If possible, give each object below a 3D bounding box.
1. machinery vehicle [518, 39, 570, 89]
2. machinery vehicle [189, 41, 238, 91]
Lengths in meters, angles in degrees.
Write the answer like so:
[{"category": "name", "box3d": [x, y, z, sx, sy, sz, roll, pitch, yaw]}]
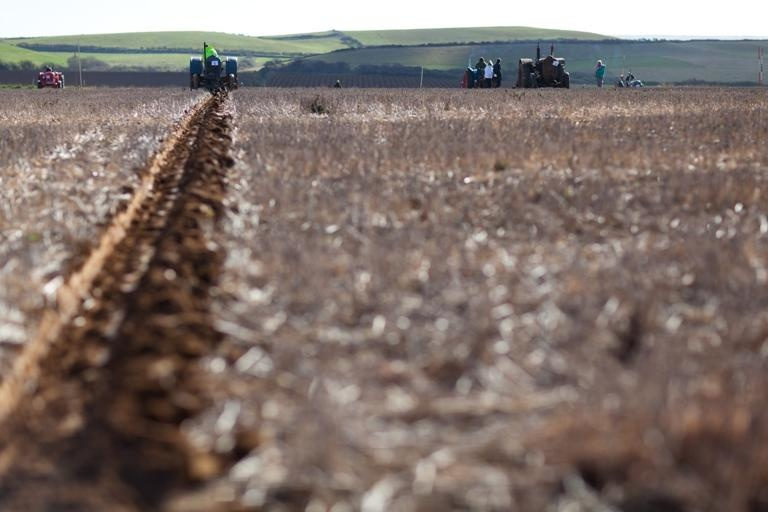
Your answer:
[{"category": "machinery vehicle", "box3d": [10.351, -12.719, 47.056, 3.007, 2.691, 2.116, -6, 8, 3]}, {"category": "machinery vehicle", "box3d": [-10.264, -11.537, 42.425, 2.138, 3.152, 5.064, 1, 23, -8]}]
